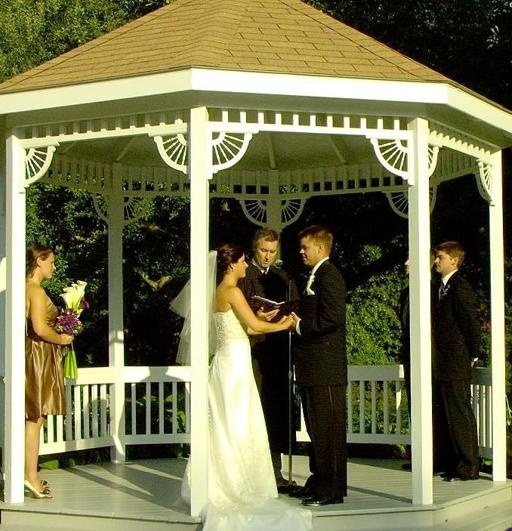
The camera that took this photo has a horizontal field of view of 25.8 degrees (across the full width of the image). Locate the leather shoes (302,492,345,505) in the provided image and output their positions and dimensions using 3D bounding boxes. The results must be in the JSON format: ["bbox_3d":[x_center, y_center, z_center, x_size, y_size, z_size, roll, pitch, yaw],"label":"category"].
[{"bbox_3d":[0.542,1.854,8.934,0.306,0.134,0.111,6,-9,-16],"label":"leather shoes"}]

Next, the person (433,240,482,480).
[{"bbox_3d":[1.790,0.835,9.952,0.419,2.111,0.325,-2,-5,12],"label":"person"}]

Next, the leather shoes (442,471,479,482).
[{"bbox_3d":[1.833,1.860,9.964,0.310,0.134,0.107,-3,0,-2],"label":"leather shoes"}]

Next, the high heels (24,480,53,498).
[{"bbox_3d":[-1.819,1.890,9.400,0.221,0.082,0.125,19,-2,15],"label":"high heels"}]

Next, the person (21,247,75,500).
[{"bbox_3d":[-1.754,0.885,9.474,0.405,2.112,0.461,1,-5,-18],"label":"person"}]

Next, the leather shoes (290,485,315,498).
[{"bbox_3d":[0.388,1.861,9.234,0.189,0.077,0.080,1,-8,3],"label":"leather shoes"}]

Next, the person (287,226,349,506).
[{"bbox_3d":[0.527,0.791,9.031,0.502,2.222,0.466,-3,-5,21],"label":"person"}]

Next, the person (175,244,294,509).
[{"bbox_3d":[-0.084,0.843,9.040,0.585,2.020,0.383,-1,-5,-2],"label":"person"}]
